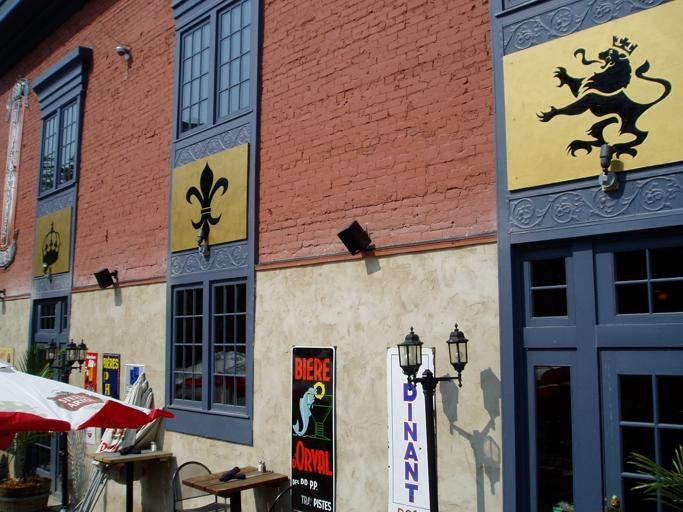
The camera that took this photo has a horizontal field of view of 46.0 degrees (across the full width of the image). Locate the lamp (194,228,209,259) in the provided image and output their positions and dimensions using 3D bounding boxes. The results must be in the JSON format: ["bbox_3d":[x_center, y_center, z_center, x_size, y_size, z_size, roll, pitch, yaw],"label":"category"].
[{"bbox_3d":[-2.289,-0.225,13.195,0.151,0.492,0.320,12,-18,-39],"label":"lamp"}]

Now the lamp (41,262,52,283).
[{"bbox_3d":[-6.224,0.357,17.002,0.188,0.430,0.602,5,-16,-19],"label":"lamp"}]

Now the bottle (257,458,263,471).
[{"bbox_3d":[-1.198,3.053,11.782,0.088,0.194,0.133,4,-8,-31],"label":"bottle"}]

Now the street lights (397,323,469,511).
[{"bbox_3d":[1.147,1.974,9.895,0.847,2.221,0.847,-1,-14,8],"label":"street lights"}]

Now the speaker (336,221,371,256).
[{"bbox_3d":[0.164,-0.279,11.020,0.491,0.437,0.289,10,-17,-31],"label":"speaker"}]

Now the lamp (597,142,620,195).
[{"bbox_3d":[3.105,-1.033,9.359,0.214,0.519,0.226,-5,-15,21],"label":"lamp"}]

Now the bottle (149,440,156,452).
[{"bbox_3d":[-3.144,3.175,13.418,0.133,0.210,0.100,-14,-18,43],"label":"bottle"}]

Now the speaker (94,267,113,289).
[{"bbox_3d":[-4.389,0.403,14.922,0.313,0.414,0.338,-17,-1,16],"label":"speaker"}]
